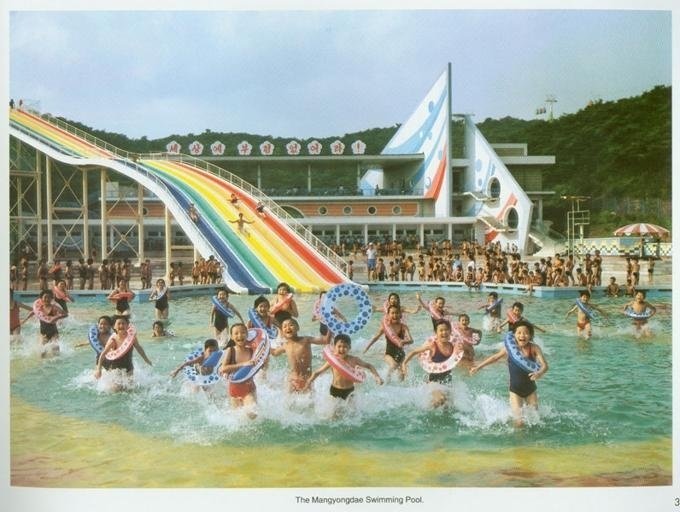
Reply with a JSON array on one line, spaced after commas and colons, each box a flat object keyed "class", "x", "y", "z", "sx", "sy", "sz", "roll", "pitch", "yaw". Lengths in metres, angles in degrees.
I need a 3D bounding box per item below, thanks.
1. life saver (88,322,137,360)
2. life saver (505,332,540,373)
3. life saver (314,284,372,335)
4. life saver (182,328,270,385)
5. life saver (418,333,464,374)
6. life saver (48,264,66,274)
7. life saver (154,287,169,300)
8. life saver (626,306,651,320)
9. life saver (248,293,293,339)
[{"class": "life saver", "x": -3.367, "y": 1.289, "z": 13.006, "sx": 0.598, "sy": 0.588, "sz": 0.564, "roll": -1, "pitch": 4, "yaw": -10}, {"class": "life saver", "x": 2.477, "y": 1.345, "z": 11.956, "sx": 0.489, "sy": 0.492, "sz": 0.305, "roll": 5, "pitch": 12, "yaw": 21}, {"class": "life saver", "x": 0.058, "y": 0.767, "z": 12.950, "sx": 0.717, "sy": 0.885, "sz": 0.685, "roll": -2, "pitch": 4, "yaw": -13}, {"class": "life saver", "x": -1.586, "y": 1.517, "z": 12.365, "sx": 1.230, "sy": 0.951, "sz": 0.724, "roll": 5, "pitch": 12, "yaw": 22}, {"class": "life saver", "x": 1.472, "y": 1.384, "z": 12.395, "sx": 0.520, "sy": 0.562, "sz": 0.135, "roll": -5, "pitch": -46, "yaw": 48}, {"class": "life saver", "x": -7.321, "y": 0.317, "z": 22.656, "sx": 0.234, "sy": 0.130, "sz": 0.303, "roll": -2, "pitch": 0, "yaw": 14}, {"class": "life saver", "x": -3.535, "y": 0.714, "z": 17.233, "sx": 0.185, "sy": 0.100, "sz": 0.267, "roll": 6, "pitch": -47, "yaw": -37}, {"class": "life saver", "x": 5.190, "y": 1.014, "z": 15.293, "sx": 0.266, "sy": 0.123, "sz": 0.249, "roll": 1, "pitch": -6, "yaw": 34}, {"class": "life saver", "x": -1.157, "y": 0.931, "z": 13.512, "sx": 0.499, "sy": 0.707, "sz": 0.528, "roll": -1, "pitch": 4, "yaw": 9}]
